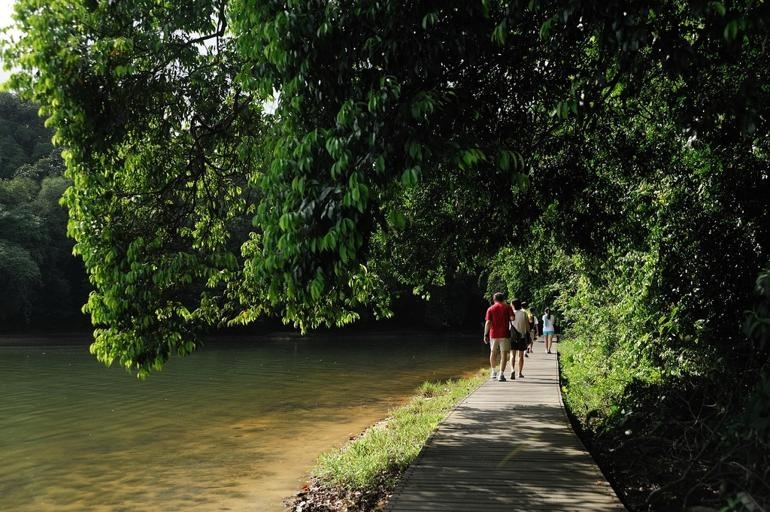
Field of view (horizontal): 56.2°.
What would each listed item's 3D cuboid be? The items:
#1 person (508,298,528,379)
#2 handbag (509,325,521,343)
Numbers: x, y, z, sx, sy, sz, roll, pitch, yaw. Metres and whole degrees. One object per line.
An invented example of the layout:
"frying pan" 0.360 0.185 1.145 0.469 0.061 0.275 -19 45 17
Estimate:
"person" 3.560 2.190 19.199 0.585 2.060 0.686 1 -2 -3
"handbag" 3.310 2.018 18.327 0.382 0.471 0.283 5 8 -38
